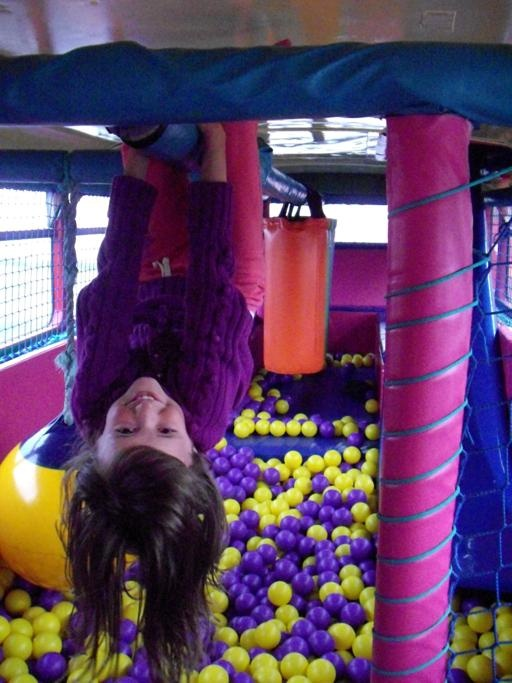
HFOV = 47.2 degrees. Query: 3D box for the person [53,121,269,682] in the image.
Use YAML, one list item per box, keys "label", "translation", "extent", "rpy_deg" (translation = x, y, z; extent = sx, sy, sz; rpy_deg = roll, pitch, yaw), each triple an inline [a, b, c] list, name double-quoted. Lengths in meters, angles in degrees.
- label: "person"
  translation: [-0.198, -0.030, 1.308]
  extent: [0.361, 1.322, 0.555]
  rpy_deg: [-3, -38, 2]
